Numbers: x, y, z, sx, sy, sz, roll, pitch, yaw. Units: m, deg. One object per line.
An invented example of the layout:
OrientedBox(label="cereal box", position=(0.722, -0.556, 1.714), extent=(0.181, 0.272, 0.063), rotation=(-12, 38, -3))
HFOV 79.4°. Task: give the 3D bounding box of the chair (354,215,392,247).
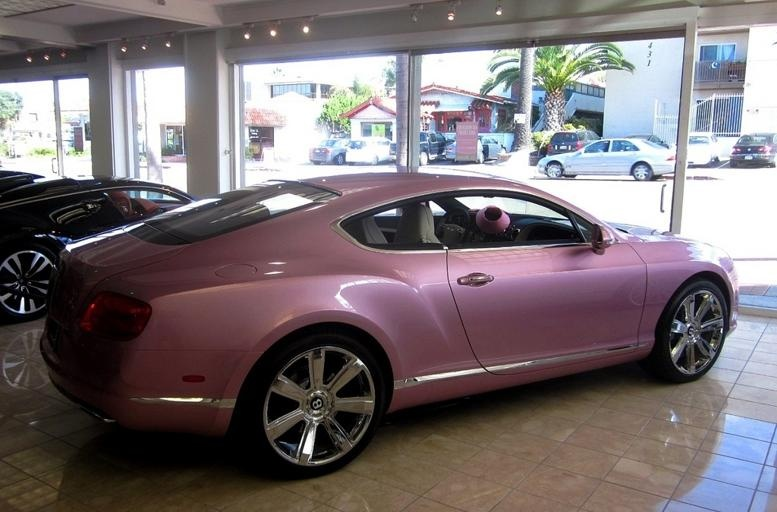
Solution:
OrientedBox(label="chair", position=(-0.096, -0.162, 2.936), extent=(0.199, 0.227, 0.169), rotation=(13, 24, 18))

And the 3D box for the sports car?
OrientedBox(label="sports car", position=(0.068, 0.319, 3.133), extent=(4.105, 1.668, 1.175), rotation=(-6, 16, -27))
